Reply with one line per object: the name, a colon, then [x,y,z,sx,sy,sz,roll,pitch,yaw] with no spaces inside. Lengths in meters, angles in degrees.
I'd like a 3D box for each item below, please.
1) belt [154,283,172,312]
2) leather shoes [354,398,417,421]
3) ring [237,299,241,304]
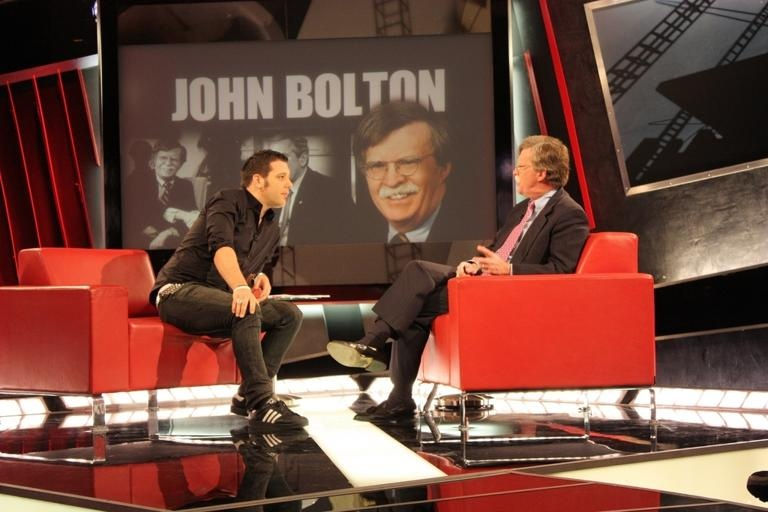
belt: [-1.282,0.235,4.348,0.055,0.139,0.111,23,-2,40]
leather shoes: [0.024,0.902,4.416,0.379,0.142,0.134,1,-8,3]
ring: [-0.773,0.243,4.048,0.029,0.020,0.006,0,7,8]
